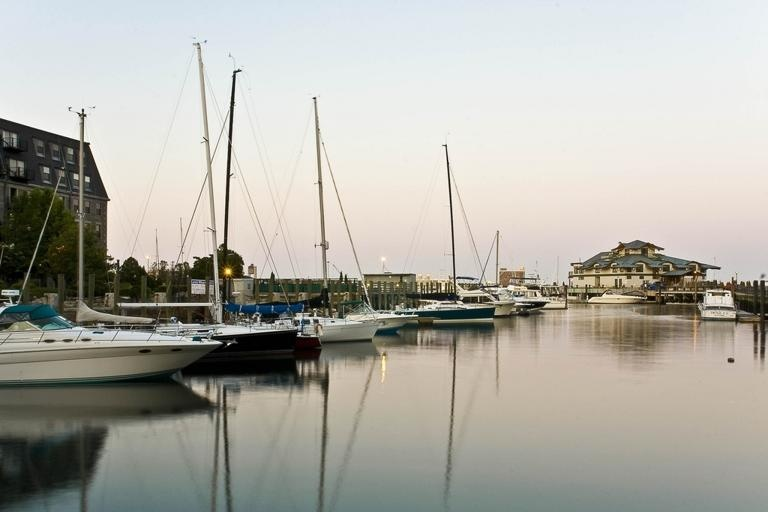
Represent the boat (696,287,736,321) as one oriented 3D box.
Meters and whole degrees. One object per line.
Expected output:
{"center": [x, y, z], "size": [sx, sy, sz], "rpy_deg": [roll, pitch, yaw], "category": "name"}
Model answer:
{"center": [27.462, 4.211, 68.993], "size": [2.423, 2.035, 5.589], "rpy_deg": [2, 4, 19], "category": "boat"}
